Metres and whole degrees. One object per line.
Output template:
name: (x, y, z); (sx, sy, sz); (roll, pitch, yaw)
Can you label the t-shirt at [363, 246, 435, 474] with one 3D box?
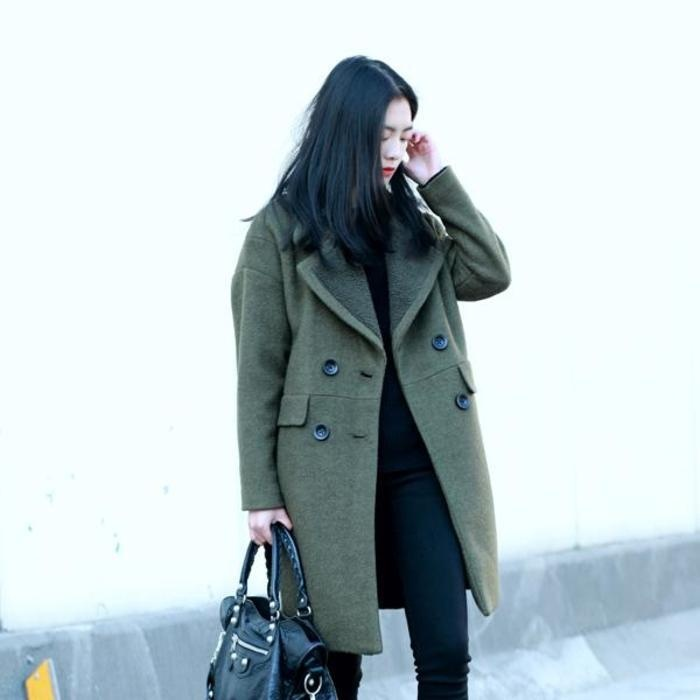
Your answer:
t-shirt: (0.122, 0.043, 2.551); (0.126, 0.600, 0.123); (-2, -10, -2)
